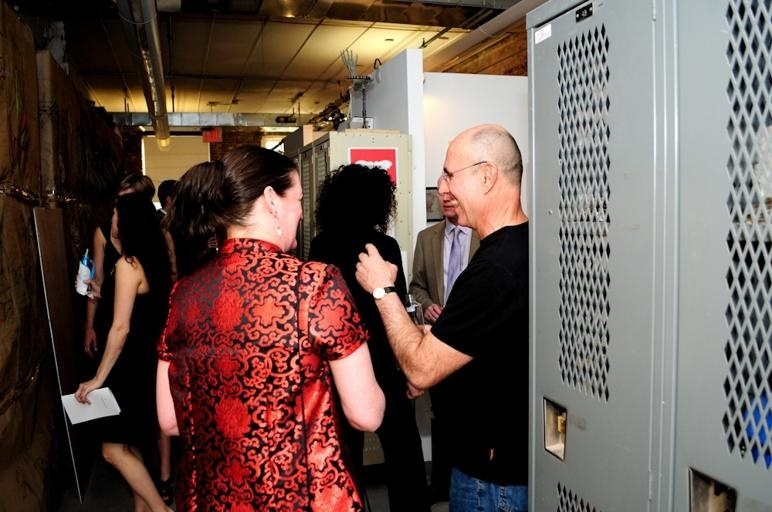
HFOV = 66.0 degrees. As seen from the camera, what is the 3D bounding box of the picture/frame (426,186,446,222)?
[{"bbox_3d":[0.395,-0.420,4.760,0.282,0.352,0.034,-8,9,-38],"label":"picture/frame"}]
